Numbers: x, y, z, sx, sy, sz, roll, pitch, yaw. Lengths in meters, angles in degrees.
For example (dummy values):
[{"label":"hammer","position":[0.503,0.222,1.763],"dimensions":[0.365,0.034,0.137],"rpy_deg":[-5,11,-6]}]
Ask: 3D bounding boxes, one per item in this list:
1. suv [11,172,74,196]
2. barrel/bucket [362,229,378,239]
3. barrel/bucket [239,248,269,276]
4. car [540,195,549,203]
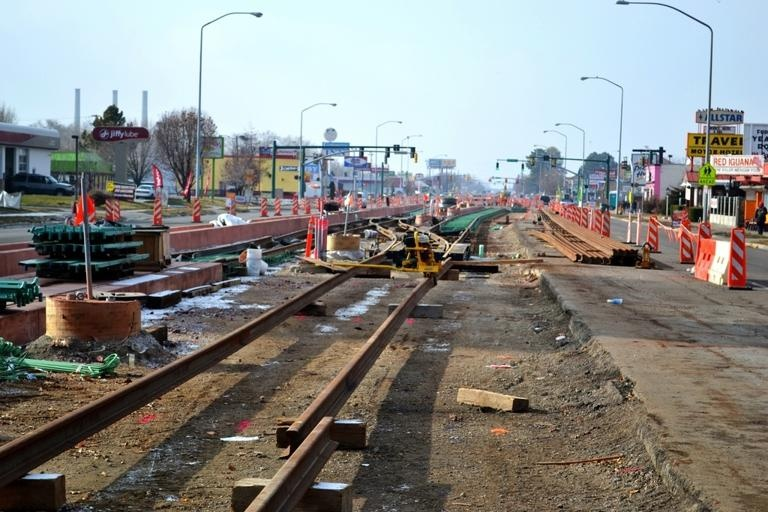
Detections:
[{"label":"suv","position":[-32.029,-6.630,58.770],"dimensions":[5.879,1.908,1.898],"rpy_deg":[2,6,-5]},{"label":"barrel/bucket","position":[-0.791,-1.244,36.463],"dimensions":[0.683,0.464,0.676],"rpy_deg":[1,5,0]},{"label":"barrel/bucket","position":[-3.972,0.176,19.709],"dimensions":[0.495,0.782,0.797],"rpy_deg":[8,8,44]},{"label":"car","position":[36.806,-13.108,146.959],"dimensions":[1.637,2.027,2.941],"rpy_deg":[-25,4,9]}]
